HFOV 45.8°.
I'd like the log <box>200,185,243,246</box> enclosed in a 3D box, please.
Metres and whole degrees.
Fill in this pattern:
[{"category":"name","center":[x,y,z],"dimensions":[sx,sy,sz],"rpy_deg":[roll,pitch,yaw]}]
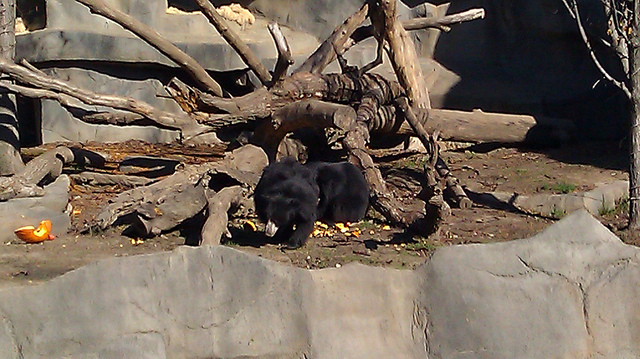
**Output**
[{"category":"log","center":[-1.941,0.607,15.283],"dimensions":[0.486,0.408,1.553],"rpy_deg":[25,50,-6]}]

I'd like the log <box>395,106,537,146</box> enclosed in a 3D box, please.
[{"category":"log","center":[3.301,-1.388,17.307],"dimensions":[3.119,1.104,0.542],"rpy_deg":[5,43,-4]}]

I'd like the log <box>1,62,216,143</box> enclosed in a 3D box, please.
[{"category":"log","center":[-4.542,-1.643,16.396],"dimensions":[4.002,1.701,0.660],"rpy_deg":[0,8,-4]}]

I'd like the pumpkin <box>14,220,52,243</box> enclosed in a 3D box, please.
[{"category":"pumpkin","center":[-5.659,1.067,15.233],"dimensions":[0.536,0.377,0.368],"rpy_deg":[6,3,-32]}]

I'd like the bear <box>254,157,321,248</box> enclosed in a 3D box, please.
[{"category":"bear","center":[-0.605,0.524,15.425],"dimensions":[1.009,1.080,1.861],"rpy_deg":[8,50,4]}]

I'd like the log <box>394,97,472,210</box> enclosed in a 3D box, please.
[{"category":"log","center":[2.430,-0.527,16.116],"dimensions":[0.732,0.581,4.049],"rpy_deg":[-12,62,-16]}]

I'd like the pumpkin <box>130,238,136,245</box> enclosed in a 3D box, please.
[{"category":"pumpkin","center":[-3.732,1.288,15.360],"dimensions":[0.087,0.076,0.137],"rpy_deg":[-2,9,-16]}]
